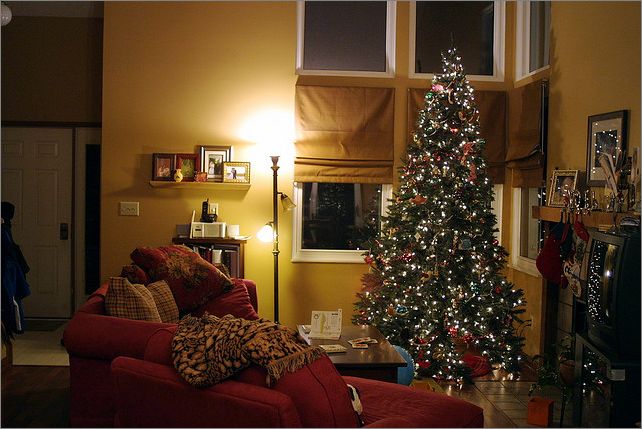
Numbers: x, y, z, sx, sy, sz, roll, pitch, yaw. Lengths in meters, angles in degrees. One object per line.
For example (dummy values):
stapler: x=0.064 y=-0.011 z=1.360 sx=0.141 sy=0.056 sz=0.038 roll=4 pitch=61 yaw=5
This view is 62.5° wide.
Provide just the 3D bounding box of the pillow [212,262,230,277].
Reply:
pillow: x=-1.013 y=0.556 z=5.440 sx=0.171 sy=0.173 sz=0.154 roll=5 pitch=-10 yaw=-43

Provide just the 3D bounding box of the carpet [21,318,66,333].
carpet: x=-3.507 y=1.384 z=6.673 sx=0.592 sy=0.005 sz=0.540 roll=0 pitch=5 yaw=-4

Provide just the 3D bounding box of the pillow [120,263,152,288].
pillow: x=-1.645 y=0.508 z=4.670 sx=0.204 sy=0.089 sz=0.204 roll=42 pitch=-8 yaw=-23

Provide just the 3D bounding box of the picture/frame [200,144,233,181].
picture/frame: x=-1.229 y=-0.600 z=6.209 sx=0.392 sy=0.454 sz=0.046 roll=0 pitch=-1 yaw=0

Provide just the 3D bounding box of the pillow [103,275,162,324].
pillow: x=-1.448 y=0.656 z=4.124 sx=0.320 sy=0.223 sz=0.639 roll=2 pitch=-5 yaw=-8

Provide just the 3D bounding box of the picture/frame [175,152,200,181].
picture/frame: x=-1.559 y=-0.558 z=6.175 sx=0.308 sy=0.409 sz=0.041 roll=0 pitch=-1 yaw=-7

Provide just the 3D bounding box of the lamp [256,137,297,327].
lamp: x=-0.541 y=0.269 z=6.214 sx=0.430 sy=1.721 sz=0.411 roll=1 pitch=0 yaw=-4

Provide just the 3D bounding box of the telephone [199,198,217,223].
telephone: x=-1.316 y=-0.057 z=6.241 sx=0.199 sy=0.258 sz=0.155 roll=1 pitch=0 yaw=-13

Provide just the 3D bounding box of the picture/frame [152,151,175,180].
picture/frame: x=-1.834 y=-0.566 z=6.167 sx=0.300 sy=0.386 sz=0.040 roll=0 pitch=-4 yaw=-9

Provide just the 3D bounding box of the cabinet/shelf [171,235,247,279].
cabinet/shelf: x=-1.190 y=0.578 z=6.020 sx=0.618 sy=0.280 sz=0.620 roll=2 pitch=43 yaw=-12
